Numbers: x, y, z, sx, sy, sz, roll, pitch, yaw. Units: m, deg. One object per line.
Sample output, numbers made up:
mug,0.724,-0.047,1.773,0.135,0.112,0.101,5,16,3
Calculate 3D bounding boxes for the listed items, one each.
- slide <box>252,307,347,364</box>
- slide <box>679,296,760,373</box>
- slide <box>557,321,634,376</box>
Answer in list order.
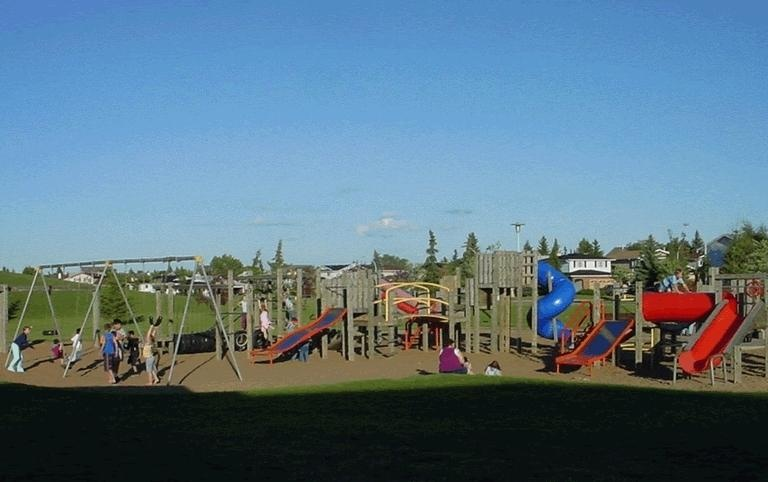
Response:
slide,-3.444,3.912,31.056,3.966,2.015,2.046,-3,4,-32
slide,12.103,3.520,26.872,4.186,0.610,1.529,-46,20,-30
slide,7.904,4.140,28.243,3.423,1.925,1.628,-11,5,-38
